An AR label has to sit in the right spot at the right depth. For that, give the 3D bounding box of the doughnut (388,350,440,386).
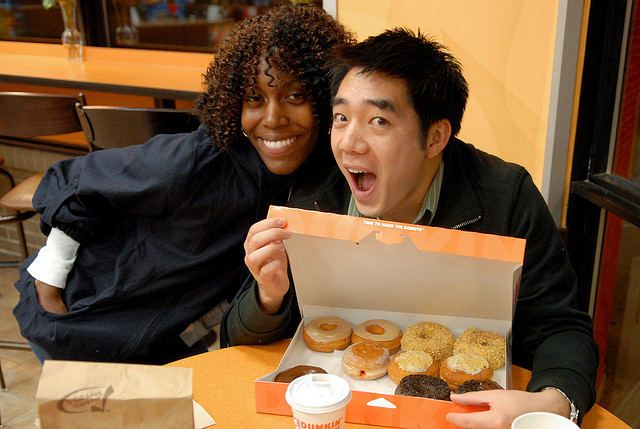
[{"bbox_3d":[0.248,0.388,1.364,0.113,0.086,0.098,-8,11,-40],"label":"doughnut"}]

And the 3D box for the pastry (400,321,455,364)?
[{"bbox_3d":[0.307,0.339,1.392,0.116,0.047,0.114,-22,34,-34],"label":"pastry"}]

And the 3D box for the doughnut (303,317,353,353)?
[{"bbox_3d":[0.022,0.338,1.419,0.096,0.033,0.097,0,19,-3],"label":"doughnut"}]

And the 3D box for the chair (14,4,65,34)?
[{"bbox_3d":[-2.273,-1.567,4.034,0.450,0.229,0.108,4,19,23],"label":"chair"}]

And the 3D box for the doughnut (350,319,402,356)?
[{"bbox_3d":[0.156,0.333,1.428,0.112,0.098,0.099,-10,18,-35],"label":"doughnut"}]

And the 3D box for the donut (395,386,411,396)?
[{"bbox_3d":[0.209,0.444,1.264,0.022,0.017,0.022,0,4,-12],"label":"donut"}]

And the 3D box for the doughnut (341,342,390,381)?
[{"bbox_3d":[0.125,0.395,1.404,0.105,0.089,0.109,-10,14,-28],"label":"doughnut"}]

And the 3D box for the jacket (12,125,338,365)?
[{"bbox_3d":[-0.496,0.023,2.500,1.793,1.045,0.791,2,24,6],"label":"jacket"}]
